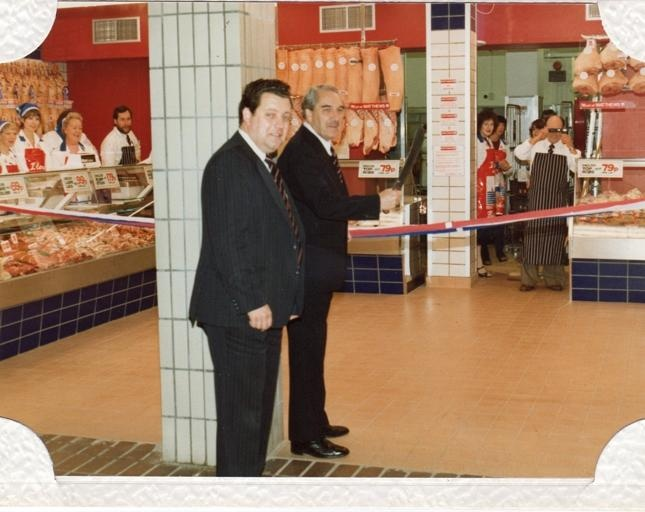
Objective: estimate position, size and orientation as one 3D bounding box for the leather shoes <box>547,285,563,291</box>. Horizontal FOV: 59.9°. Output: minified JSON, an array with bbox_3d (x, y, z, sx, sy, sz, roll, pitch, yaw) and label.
[{"bbox_3d":[2.840,0.389,6.851,0.178,0.069,0.059,0,-5,26],"label":"leather shoes"}]

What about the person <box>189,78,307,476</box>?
[{"bbox_3d":[-0.274,0.114,2.259,0.488,1.613,0.331,-4,9,-19],"label":"person"}]

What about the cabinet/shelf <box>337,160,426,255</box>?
[{"bbox_3d":[0.751,-0.599,7.674,1.237,1.601,1.760,0,0,13],"label":"cabinet/shelf"}]

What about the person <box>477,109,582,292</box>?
[{"bbox_3d":[2.813,-0.683,6.951,0.598,2.128,0.858,2,9,22],"label":"person"}]

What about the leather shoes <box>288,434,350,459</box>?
[{"bbox_3d":[-0.002,1.050,3.131,0.334,0.136,0.121,-3,2,10],"label":"leather shoes"}]

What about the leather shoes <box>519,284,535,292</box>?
[{"bbox_3d":[2.509,0.393,6.874,0.195,0.068,0.070,2,1,-32],"label":"leather shoes"}]
